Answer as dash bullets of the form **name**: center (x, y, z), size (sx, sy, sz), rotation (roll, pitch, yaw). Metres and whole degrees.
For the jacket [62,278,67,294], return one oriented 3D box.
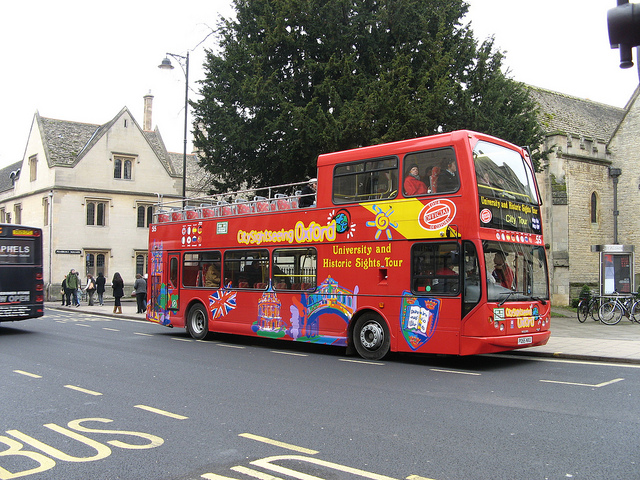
- **jacket**: center (-15.232, 2.725, 34.132), size (0.332, 0.872, 0.593), rotation (2, 6, -13)

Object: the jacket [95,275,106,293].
- **jacket**: center (-12.864, 2.536, 33.488), size (0.411, 1.036, 0.851), rotation (0, 0, -24)

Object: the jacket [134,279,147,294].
- **jacket**: center (-8.601, 2.206, 27.544), size (0.712, 0.889, 0.572), rotation (-2, 5, -22)

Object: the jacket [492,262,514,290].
- **jacket**: center (3.988, 0.792, 12.641), size (0.488, 0.767, 0.359), rotation (-5, -1, -32)

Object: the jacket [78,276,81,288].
- **jacket**: center (-15.602, 2.679, 37.063), size (0.237, 0.945, 0.910), rotation (1, -2, -20)

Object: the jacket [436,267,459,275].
- **jacket**: center (2.793, 0.683, 12.678), size (0.520, 0.176, 0.030), rotation (0, 0, 39)

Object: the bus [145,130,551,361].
- **bus**: center (-0.352, 0.417, 17.128), size (13.450, 5.532, 3.074), rotation (0, -1, 42)

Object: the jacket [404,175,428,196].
- **jacket**: center (2.192, -1.266, 13.210), size (0.347, 0.278, 0.515), rotation (3, -2, -21)

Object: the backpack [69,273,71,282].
- **backpack**: center (-14.620, 2.171, 33.384), size (0.104, 0.467, 0.443), rotation (5, 18, -22)

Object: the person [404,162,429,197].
- **person**: center (2.220, -1.370, 13.379), size (0.541, 0.821, 0.412), rotation (0, -10, -32)

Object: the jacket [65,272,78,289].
- **jacket**: center (-14.312, 2.334, 33.487), size (0.940, 1.108, 0.583), rotation (3, -4, -40)

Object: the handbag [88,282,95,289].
- **handbag**: center (-13.681, 2.692, 34.205), size (0.152, 0.379, 0.416), rotation (0, -1, 21)
